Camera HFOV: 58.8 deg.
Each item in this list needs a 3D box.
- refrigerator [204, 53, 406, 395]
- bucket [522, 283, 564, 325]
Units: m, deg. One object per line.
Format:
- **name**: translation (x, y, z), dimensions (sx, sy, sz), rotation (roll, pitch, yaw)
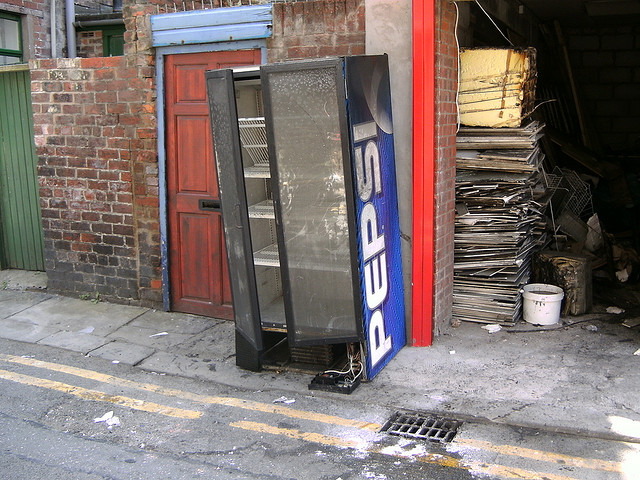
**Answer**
- **refrigerator**: translation (-0.099, -0.187, 5.743), dimensions (1.706, 3.214, 1.016), rotation (0, 11, 13)
- **bucket**: translation (2.782, 0.889, 6.904), dimensions (0.443, 0.331, 0.439), rotation (16, -13, 4)
